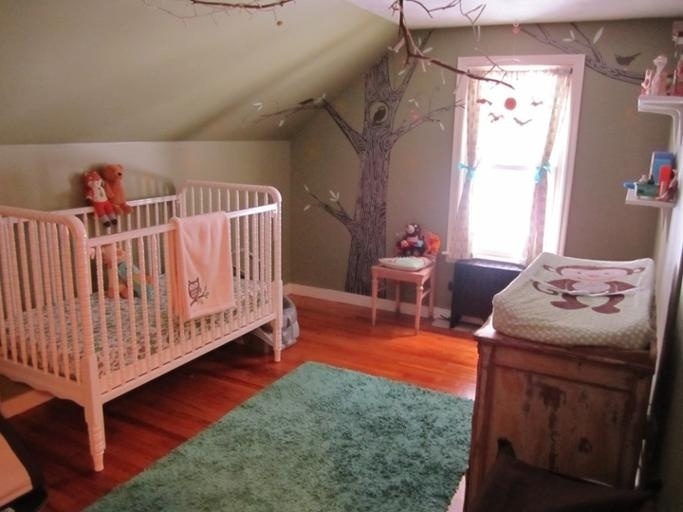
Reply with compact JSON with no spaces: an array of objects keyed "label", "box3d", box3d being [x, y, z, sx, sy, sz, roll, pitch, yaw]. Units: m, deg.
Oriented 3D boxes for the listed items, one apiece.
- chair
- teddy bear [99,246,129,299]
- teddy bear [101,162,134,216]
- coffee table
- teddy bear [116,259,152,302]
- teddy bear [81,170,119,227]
[{"label":"chair","box3d":[0.541,0.166,4.659,0.526,0.867,0.585,5,11,16]},{"label":"teddy bear","box3d":[-1.338,0.097,3.195,0.247,0.317,0.124,2,8,42]},{"label":"teddy bear","box3d":[-1.476,-0.445,3.564,0.190,0.318,0.199,-6,27,-36]},{"label":"coffee table","box3d":[0.988,0.222,3.692,0.507,0.487,0.170,7,17,26]},{"label":"teddy bear","box3d":[-1.302,0.132,3.538,0.246,0.254,0.098,6,23,38]},{"label":"teddy bear","box3d":[-1.535,-0.356,3.475,0.126,0.354,0.180,-9,10,40]}]
